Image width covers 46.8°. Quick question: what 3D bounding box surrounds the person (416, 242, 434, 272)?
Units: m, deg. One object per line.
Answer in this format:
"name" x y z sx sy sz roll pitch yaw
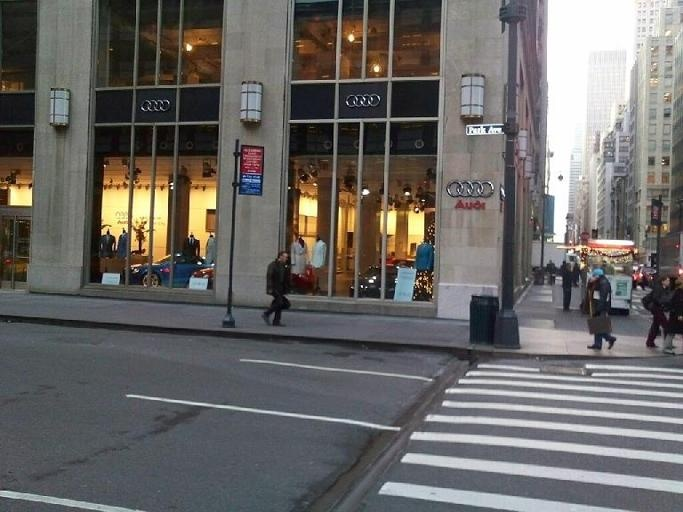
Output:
"person" 2.723 0.005 25.813 0.581 0.975 0.205 5 11 18

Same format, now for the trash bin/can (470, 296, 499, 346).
"trash bin/can" 3.649 1.606 20.186 0.698 1.156 0.715 3 11 12

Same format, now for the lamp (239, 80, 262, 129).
"lamp" -3.056 -5.208 26.965 0.764 1.444 0.484 -1 11 -10

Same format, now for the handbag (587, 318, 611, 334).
"handbag" 6.515 1.740 19.901 0.342 0.381 0.121 -3 -5 25

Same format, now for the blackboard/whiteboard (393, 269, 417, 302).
"blackboard/whiteboard" 2.124 0.956 25.944 0.841 1.677 0.163 3 -1 11

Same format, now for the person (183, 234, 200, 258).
"person" -5.287 -0.342 27.863 0.701 1.084 0.261 0 -3 3

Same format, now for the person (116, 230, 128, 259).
"person" -7.927 -0.453 28.545 0.414 0.980 0.172 6 11 25

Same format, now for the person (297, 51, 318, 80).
"person" -1.181 -6.502 27.038 0.942 0.857 0.251 6 11 21

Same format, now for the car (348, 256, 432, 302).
"car" 1.605 0.748 26.091 1.947 1.020 1.234 3 -4 -19

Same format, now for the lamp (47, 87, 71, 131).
"lamp" -10.313 -5.433 28.963 0.765 1.428 0.608 -3 11 -21

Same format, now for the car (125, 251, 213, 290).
"car" -6.288 0.519 28.179 2.496 0.959 1.249 4 -2 1

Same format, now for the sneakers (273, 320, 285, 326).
"sneakers" -1.705 1.855 22.051 0.375 0.297 0.146 -1 0 8
